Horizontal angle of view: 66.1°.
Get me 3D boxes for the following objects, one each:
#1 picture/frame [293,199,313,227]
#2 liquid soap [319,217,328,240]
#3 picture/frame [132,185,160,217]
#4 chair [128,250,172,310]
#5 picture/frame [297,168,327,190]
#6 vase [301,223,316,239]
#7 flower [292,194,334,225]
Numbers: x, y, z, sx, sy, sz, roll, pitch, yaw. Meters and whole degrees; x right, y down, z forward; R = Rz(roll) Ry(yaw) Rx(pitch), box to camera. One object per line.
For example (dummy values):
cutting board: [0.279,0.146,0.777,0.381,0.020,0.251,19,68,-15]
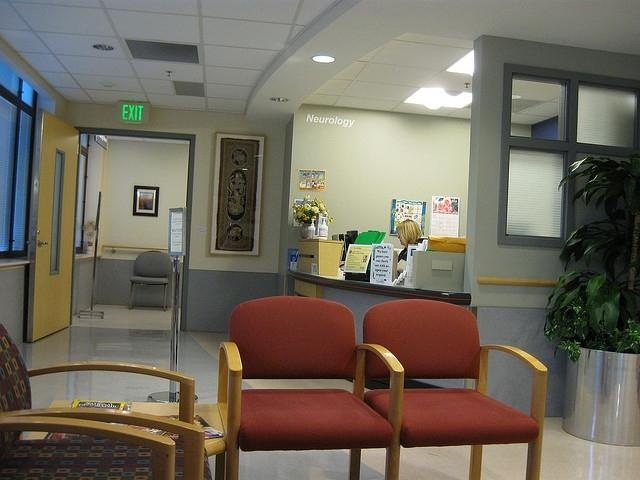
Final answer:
picture/frame: [-0.223,-0.362,6.593,0.316,0.402,0.313,1,0,0]
liquid soap: [0.033,-0.176,6.282,0.117,0.262,0.059,0,2,-23]
picture/frame: [-3.488,-0.762,9.738,0.577,0.777,0.057,1,-3,-14]
chair: [-3.213,0.746,9.274,0.778,1.072,0.750,1,2,-22]
picture/frame: [-0.143,-0.858,6.868,0.274,0.244,0.038,1,3,-5]
vase: [-0.184,-0.125,6.422,0.179,0.181,0.178,5,-5,-42]
flower: [-0.130,-0.399,6.511,0.430,0.307,0.391,-1,6,-24]
